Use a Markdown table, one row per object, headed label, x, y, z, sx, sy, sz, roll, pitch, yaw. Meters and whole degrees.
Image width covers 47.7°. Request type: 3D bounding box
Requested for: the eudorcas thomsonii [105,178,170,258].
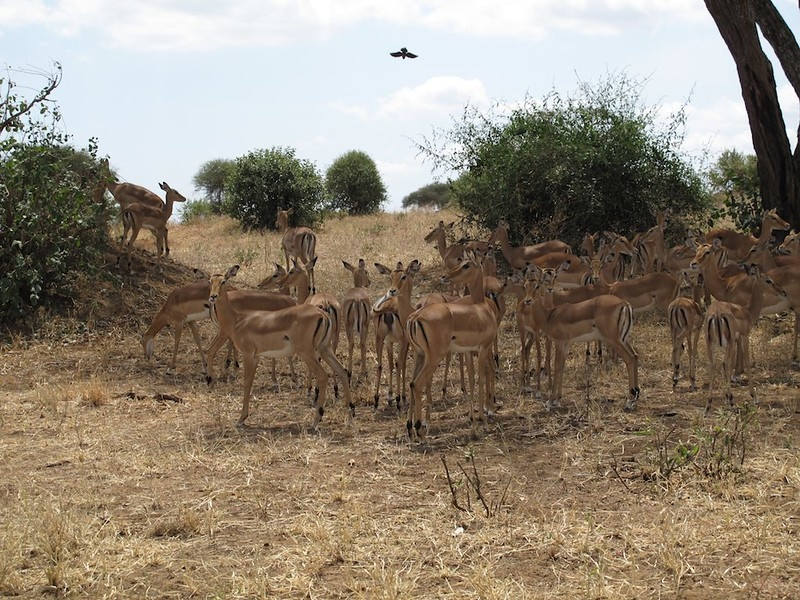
| label | x | y | z | sx | sy | sz | roll | pitch | yaw |
| --- | --- | --- | --- | --- | --- | --- | --- | --- | --- |
| eudorcas thomsonii | -6.245 | -2.144 | 20.963 | 1.942 | 1.725 | 0.564 | 8 | 13 | 18 |
